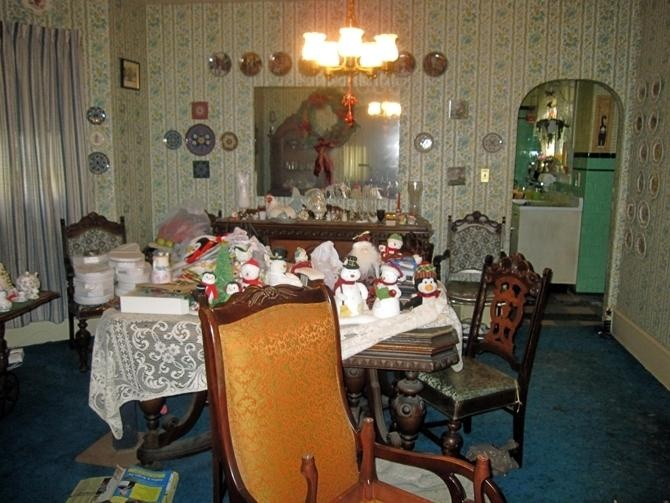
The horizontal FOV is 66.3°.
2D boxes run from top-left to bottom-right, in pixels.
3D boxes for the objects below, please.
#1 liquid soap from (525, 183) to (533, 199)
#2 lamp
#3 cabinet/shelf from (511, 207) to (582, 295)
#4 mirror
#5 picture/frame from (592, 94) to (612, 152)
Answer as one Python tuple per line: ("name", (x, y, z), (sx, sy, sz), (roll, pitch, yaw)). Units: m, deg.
("liquid soap", (3.200, -0.986, 8.440), (0.055, 0.245, 0.184), (-6, 16, -24))
("lamp", (0.181, -2.013, 5.394), (1.176, 1.782, 1.055), (0, 15, -2))
("cabinet/shelf", (3.094, -0.117, 7.598), (0.895, 1.301, 1.258), (2, 5, 10))
("mirror", (-0.031, -1.326, 5.973), (1.315, 1.006, 0.057), (0, 4, 1))
("picture/frame", (3.793, -1.830, 7.275), (0.252, 0.784, 0.480), (7, 16, 24))
